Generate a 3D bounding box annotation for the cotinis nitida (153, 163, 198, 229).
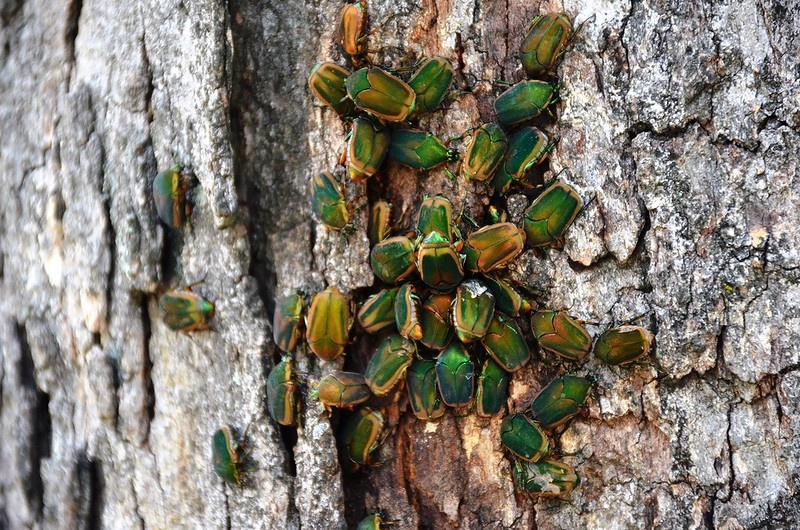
[{"bbox_3d":[-1.623,-0.505,10.651,0.277,0.142,0.488,-3,96,-10],"label":"cotinis nitida"}]
